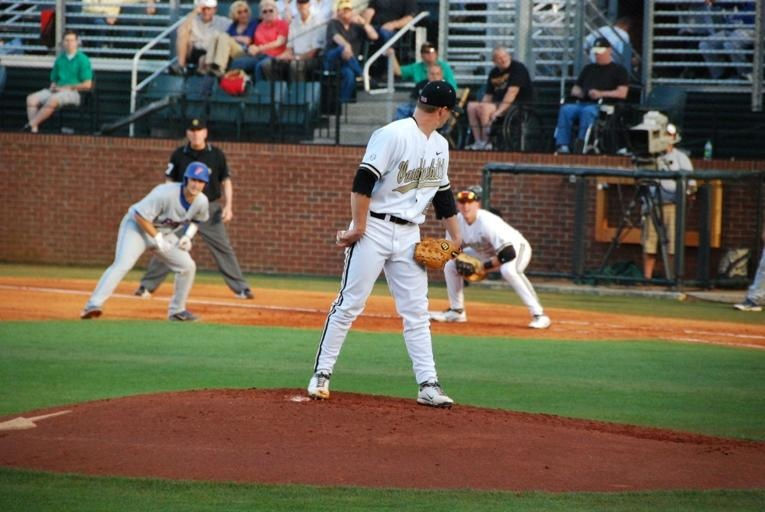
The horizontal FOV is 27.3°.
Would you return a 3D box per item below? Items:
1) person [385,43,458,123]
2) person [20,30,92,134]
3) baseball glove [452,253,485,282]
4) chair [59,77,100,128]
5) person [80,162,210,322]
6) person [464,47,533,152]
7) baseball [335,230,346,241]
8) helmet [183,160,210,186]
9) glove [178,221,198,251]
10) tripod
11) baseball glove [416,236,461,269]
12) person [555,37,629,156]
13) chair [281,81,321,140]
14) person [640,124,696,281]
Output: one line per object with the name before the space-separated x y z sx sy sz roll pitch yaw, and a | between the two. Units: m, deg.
person | 0.795 -2.949 30.827 1.513 2.469 0.765 2 2 -5
person | -6.508 -3.468 31.597 1.262 2.043 0.710 5 6 1
baseball glove | 1.342 0.181 23.666 0.481 0.216 0.352 36 -6 -16
chair | -6.203 -3.112 31.907 0.378 0.996 0.821 13 -8 -20
person | -3.642 -0.249 24.961 1.612 2.549 0.666 4 6 -5
person | 2.225 -3.089 30.559 1.093 2.115 1.157 1 1 -18
baseball | -0.581 -0.329 22.057 0.178 0.227 0.092 1 -7 -7
helmet | -2.932 -1.305 24.768 0.297 0.284 0.376 20 -7 -16
glove | -3.134 -0.298 25.211 0.252 0.190 0.469 11 40 -2
tripod | 4.981 -0.512 29.922 1.174 2.275 0.981 2 -1 -7
baseball glove | 0.785 -0.084 22.150 0.658 0.478 0.263 0 -37 2
person | 4.057 -3.055 30.239 1.321 2.281 0.765 5 6 6
chair | -1.628 -2.893 31.386 0.975 1.321 0.990 1 18 -1
person | 5.343 -1.087 29.603 1.169 2.781 0.824 3 1 32
